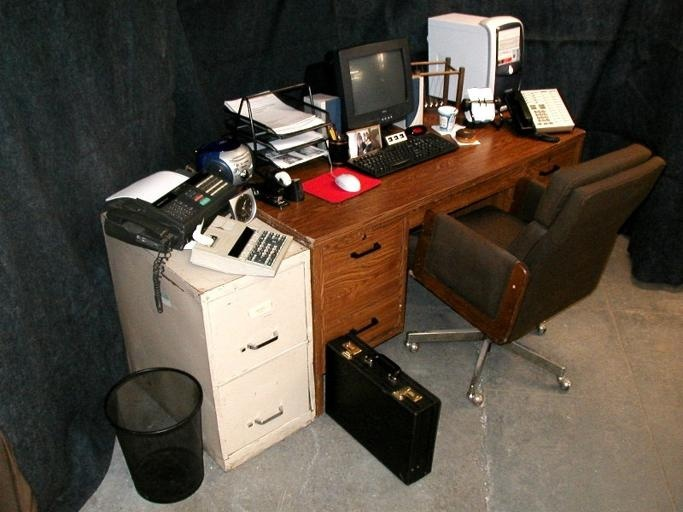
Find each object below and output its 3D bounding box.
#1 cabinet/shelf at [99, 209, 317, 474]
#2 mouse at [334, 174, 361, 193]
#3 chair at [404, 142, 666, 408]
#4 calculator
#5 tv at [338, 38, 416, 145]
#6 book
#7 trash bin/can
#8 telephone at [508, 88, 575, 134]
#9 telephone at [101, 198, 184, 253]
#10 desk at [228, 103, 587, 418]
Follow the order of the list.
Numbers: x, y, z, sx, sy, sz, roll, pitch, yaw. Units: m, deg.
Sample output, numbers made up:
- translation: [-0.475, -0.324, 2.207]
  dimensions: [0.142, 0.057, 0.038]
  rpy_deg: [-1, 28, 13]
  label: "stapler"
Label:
- translation: [-0.598, 0.330, 2.683]
  dimensions: [0.835, 0.899, 0.547]
  rpy_deg: [24, 34, 39]
  label: "cabinet/shelf"
- translation: [0.026, -0.347, 2.645]
  dimensions: [0.125, 0.069, 0.151]
  rpy_deg: [-4, 36, -1]
  label: "mouse"
- translation: [0.853, 0.006, 2.826]
  dimensions: [0.858, 1.251, 0.976]
  rpy_deg: [-16, 36, -23]
  label: "chair"
- translation: [-0.389, -0.026, 2.252]
  dimensions: [0.306, 0.087, 0.265]
  rpy_deg: [18, 45, 5]
  label: "calculator"
- translation: [0.168, -0.846, 2.954]
  dimensions: [0.496, 0.461, 0.280]
  rpy_deg: [-23, 32, -30]
  label: "tv"
- translation: [-0.302, -0.627, 2.792]
  dimensions: [0.378, 0.330, 0.466]
  rpy_deg: [-34, 55, -28]
  label: "book"
- translation: [-0.764, 0.760, 2.470]
  dimensions: [0.376, 0.556, 0.449]
  rpy_deg: [-7, 28, -24]
  label: "trash bin/can"
- translation: [1.101, -0.805, 3.189]
  dimensions: [0.326, 0.135, 0.295]
  rpy_deg: [-17, 67, -8]
  label: "telephone"
- translation: [-0.784, -0.127, 2.253]
  dimensions: [0.278, 0.097, 0.209]
  rpy_deg: [21, 40, 20]
  label: "telephone"
- translation: [0.512, -0.071, 3.122]
  dimensions: [1.687, 0.852, 0.570]
  rpy_deg: [-22, 30, -24]
  label: "desk"
